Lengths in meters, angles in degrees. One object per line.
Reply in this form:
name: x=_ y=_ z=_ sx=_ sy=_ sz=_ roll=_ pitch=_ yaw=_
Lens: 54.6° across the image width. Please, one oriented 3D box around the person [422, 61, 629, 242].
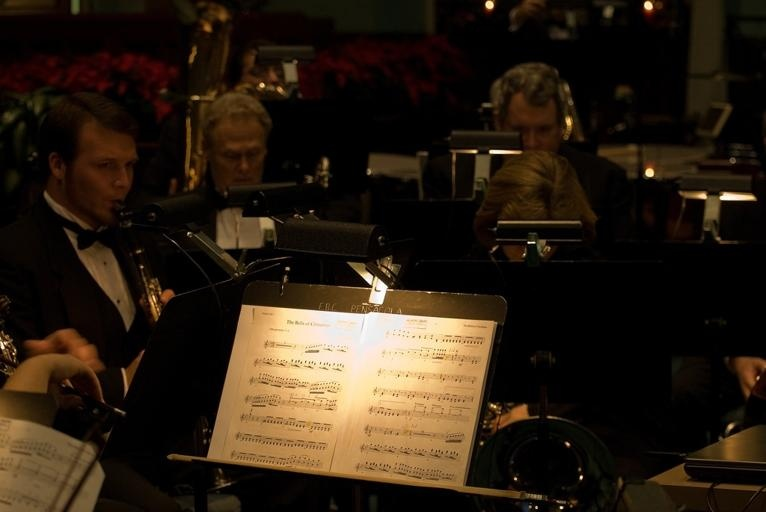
person: x=0.817 y=-0.586 z=4.283 sx=1.137 sy=0.951 sz=0.562 roll=-2 pitch=23 yaw=10
